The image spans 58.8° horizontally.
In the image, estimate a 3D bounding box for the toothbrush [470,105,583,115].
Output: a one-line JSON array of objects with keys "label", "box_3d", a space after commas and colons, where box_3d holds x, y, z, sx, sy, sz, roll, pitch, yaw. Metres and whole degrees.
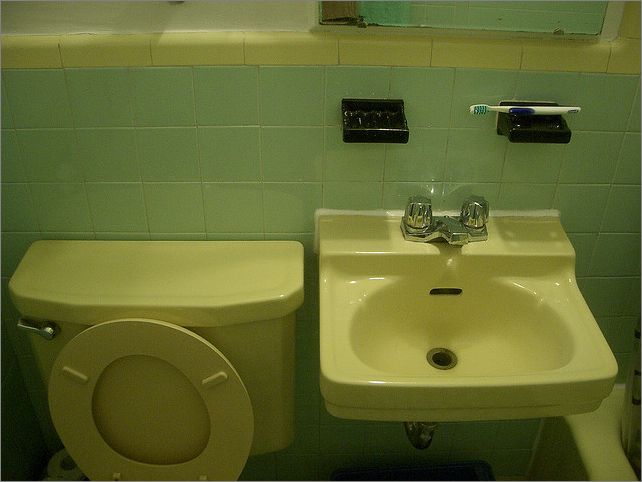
[{"label": "toothbrush", "box_3d": [0.490, -0.313, 1.359, 0.248, 0.027, 0.029, 1, 17, 2]}]

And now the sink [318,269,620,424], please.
[{"label": "sink", "box_3d": [0.322, 0.253, 1.342, 0.645, 0.195, 0.340, 0, 28, -1]}]
